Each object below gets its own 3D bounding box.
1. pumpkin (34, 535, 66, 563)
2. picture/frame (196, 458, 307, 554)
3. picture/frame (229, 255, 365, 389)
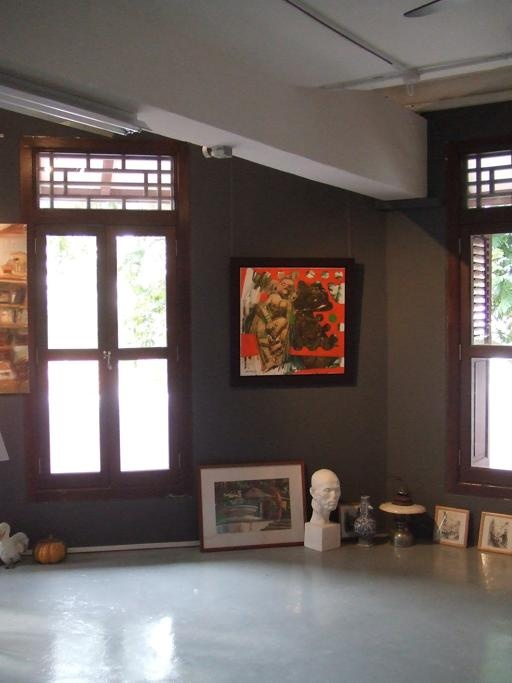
[{"bbox_3d":[-1.259,1.279,3.849,0.161,0.131,0.163,-4,-7,42],"label":"pumpkin"},{"bbox_3d":[-0.052,1.104,4.086,0.681,0.459,0.054,1,-15,-16],"label":"picture/frame"},{"bbox_3d":[0.269,-0.168,4.233,0.899,0.764,0.036,0,-3,27],"label":"picture/frame"}]
